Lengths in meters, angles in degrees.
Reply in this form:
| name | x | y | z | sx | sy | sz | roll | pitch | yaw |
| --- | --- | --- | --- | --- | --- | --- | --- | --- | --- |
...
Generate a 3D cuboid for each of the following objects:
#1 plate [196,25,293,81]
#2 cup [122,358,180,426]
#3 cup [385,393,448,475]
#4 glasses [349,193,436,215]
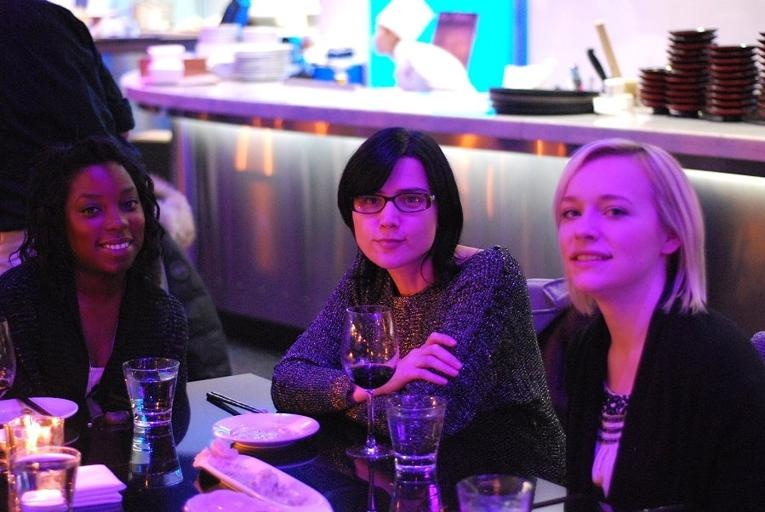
| name | x | y | z | sx | sy | sz | roll | pitch | yaw |
| --- | --- | --- | --- | --- | --- | --- | --- | --- | --- |
| plate | -0.941 | -1.364 | 4.036 | 0.577 | 0.190 | 0.428 | 3 | 5 | 19 |
| cup | -0.472 | 0.299 | 1.335 | 0.152 | 0.148 | 0.148 | -1 | -4 | 0 |
| cup | 0.055 | 0.321 | 1.103 | 0.140 | 0.139 | 0.137 | 0 | 0 | 0 |
| glasses | 0.028 | -0.134 | 1.483 | 0.204 | 0.056 | 0.041 | -2 | 8 | 1 |
